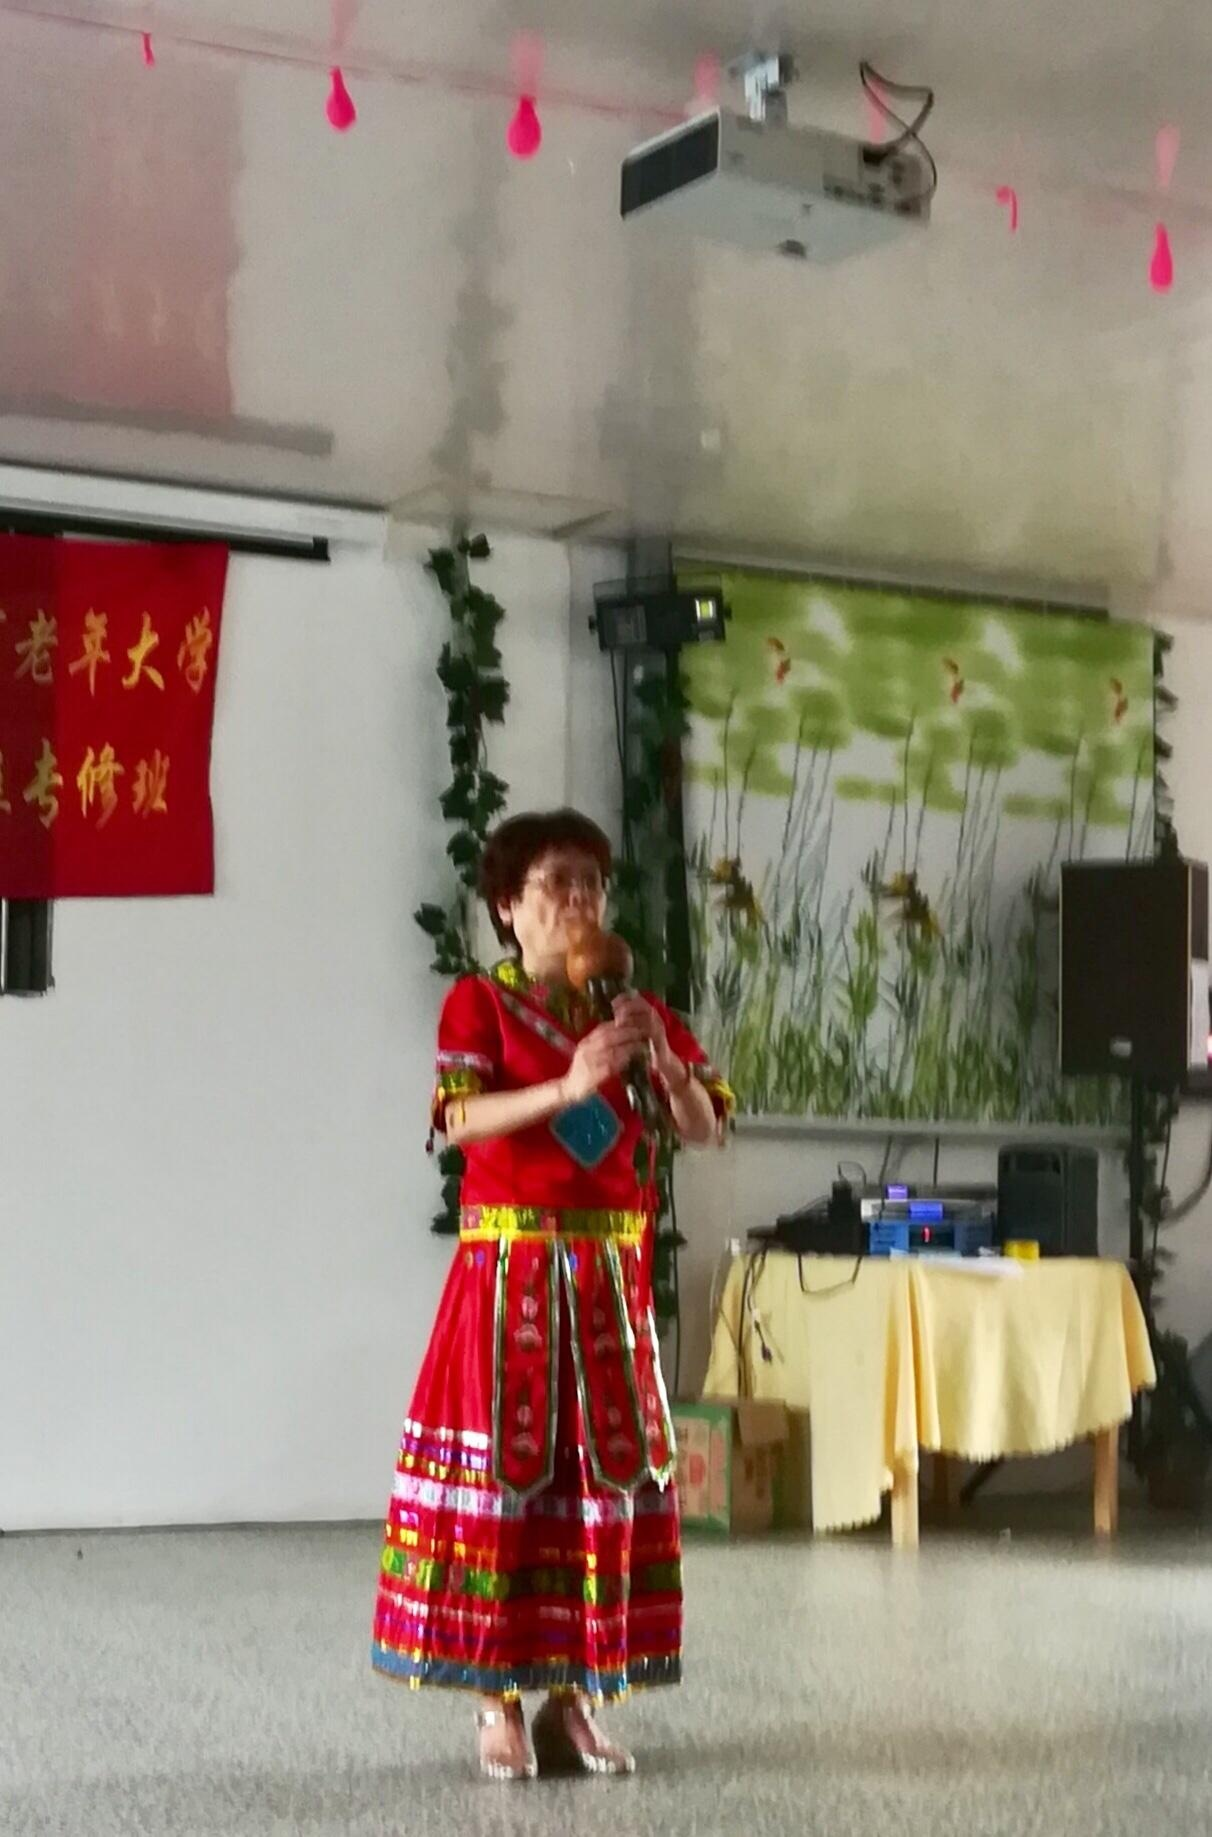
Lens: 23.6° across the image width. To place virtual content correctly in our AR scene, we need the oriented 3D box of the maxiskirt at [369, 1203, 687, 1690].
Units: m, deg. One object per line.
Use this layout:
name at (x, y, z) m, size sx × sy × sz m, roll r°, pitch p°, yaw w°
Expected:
maxiskirt at (-0.077, 0.551, 3.048) m, size 0.319 × 0.431 × 0.111 m, roll 3°, pitch 1°, yaw 2°

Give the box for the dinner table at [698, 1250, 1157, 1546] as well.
dinner table at (0.543, 0.690, 4.711) m, size 0.644 × 0.485 × 0.544 m, roll 1°, pitch -2°, yaw -18°

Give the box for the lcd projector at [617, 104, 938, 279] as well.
lcd projector at (0.252, -1.067, 4.200) m, size 0.380 × 0.148 × 0.314 m, roll 0°, pitch 3°, yaw -32°

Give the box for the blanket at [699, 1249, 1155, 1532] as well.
blanket at (0.530, 0.763, 4.651) m, size 0.739 × 0.420 × 0.363 m, roll 4°, pitch 1°, yaw 0°

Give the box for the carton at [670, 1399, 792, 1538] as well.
carton at (0.208, 0.833, 4.626) m, size 0.192 × 0.271 × 0.219 m, roll -1°, pitch -5°, yaw 15°
